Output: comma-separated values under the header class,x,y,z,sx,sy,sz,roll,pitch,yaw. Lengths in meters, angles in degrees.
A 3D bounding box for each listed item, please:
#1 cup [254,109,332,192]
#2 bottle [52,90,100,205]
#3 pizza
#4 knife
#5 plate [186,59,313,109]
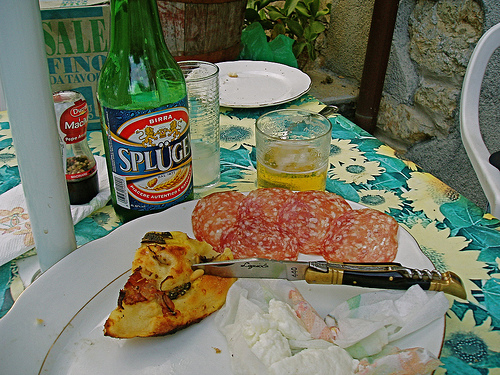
class,x,y,z,sx,sy,sz,roll,pitch,yaw
cup,0.071,-0.057,0.669,0.113,0.116,0.112,-1,35,1
bottle,-0.274,-0.058,0.635,0.078,0.215,0.071,9,22,-1
pizza,-0.096,0.122,0.514,0.134,0.036,0.187,23,36,12
knife,0.089,0.115,0.507,0.389,0.056,0.037,2,-5,4
plate,0.040,-0.300,1.076,0.320,0.148,0.370,-18,26,-39
